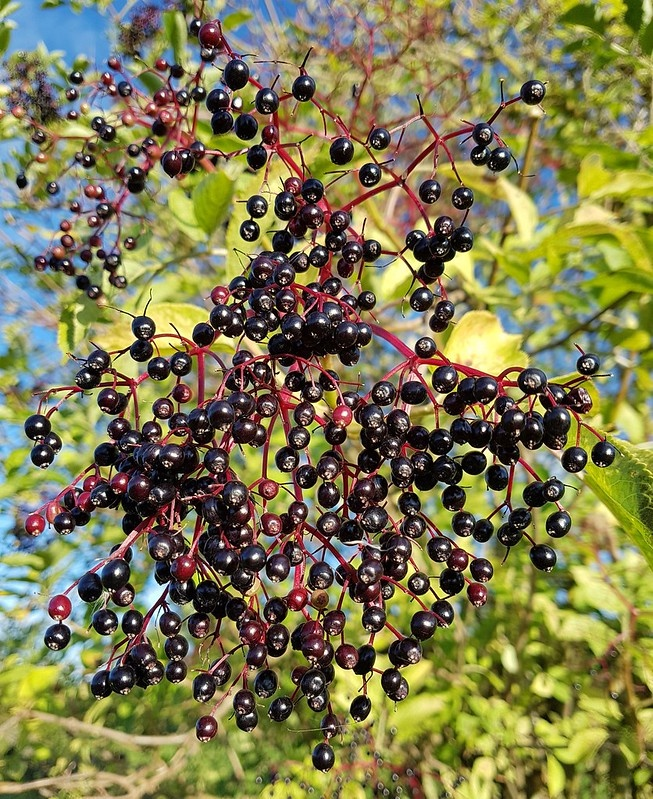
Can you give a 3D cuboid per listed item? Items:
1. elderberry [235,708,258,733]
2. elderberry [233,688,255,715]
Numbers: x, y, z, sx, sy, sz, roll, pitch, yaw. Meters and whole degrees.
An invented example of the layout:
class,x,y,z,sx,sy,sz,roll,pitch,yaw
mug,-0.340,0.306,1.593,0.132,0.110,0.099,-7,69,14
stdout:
class,x,y,z,sx,sy,sz,roll,pitch,yaw
elderberry,-0.275,1.099,3.635,0.075,0.093,0.071,1,102,-4
elderberry,-0.278,1.021,3.561,0.083,0.079,0.088,-4,85,5
